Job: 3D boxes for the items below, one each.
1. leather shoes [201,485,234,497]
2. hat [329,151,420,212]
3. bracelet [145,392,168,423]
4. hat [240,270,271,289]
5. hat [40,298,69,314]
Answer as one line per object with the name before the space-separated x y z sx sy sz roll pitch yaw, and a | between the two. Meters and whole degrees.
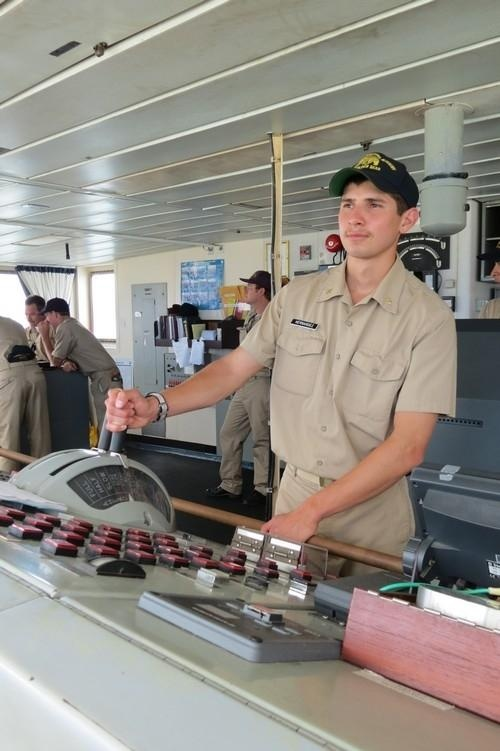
leather shoes | -0.303 1.082 5.093 0.256 0.110 0.109 8 -3 3
hat | 0.275 -0.458 1.265 0.167 0.144 0.189 0 -1 39
bracelet | -0.220 0.077 1.306 0.043 0.069 0.070 -1 -16 -40
hat | 0.073 -0.877 4.994 0.318 0.161 0.198 6 10 1
hat | -1.957 -0.680 5.450 0.218 0.129 0.154 26 24 17
